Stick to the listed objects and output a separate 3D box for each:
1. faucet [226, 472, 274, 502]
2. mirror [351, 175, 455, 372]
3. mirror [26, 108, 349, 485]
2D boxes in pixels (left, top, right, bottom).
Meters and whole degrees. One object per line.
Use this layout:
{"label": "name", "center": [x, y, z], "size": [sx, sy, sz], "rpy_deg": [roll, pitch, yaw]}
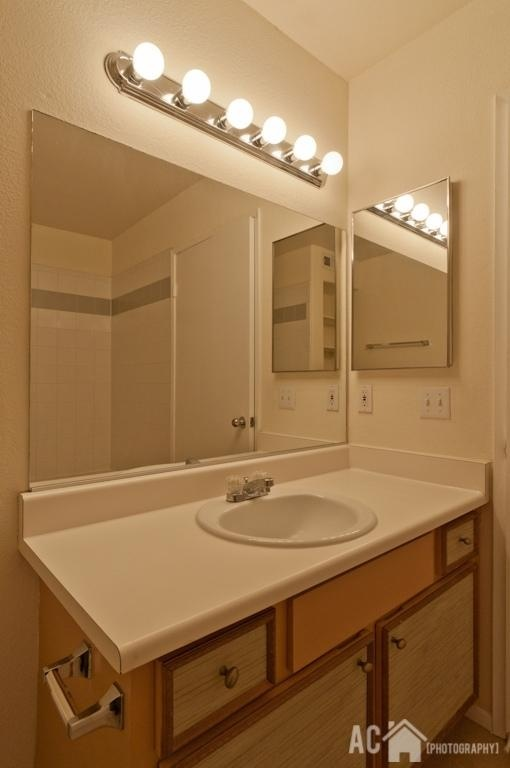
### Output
{"label": "faucet", "center": [-0.001, 0.262, 1.409], "size": [0.048, 0.075, 0.167], "rpy_deg": [4, 5, 40]}
{"label": "mirror", "center": [0.473, -0.282, 1.766], "size": [0.309, 0.597, 0.046], "rpy_deg": [-1, -28, 15]}
{"label": "mirror", "center": [-0.193, -0.227, 1.404], "size": [0.094, 0.887, 1.077], "rpy_deg": [-2, -3, 45]}
